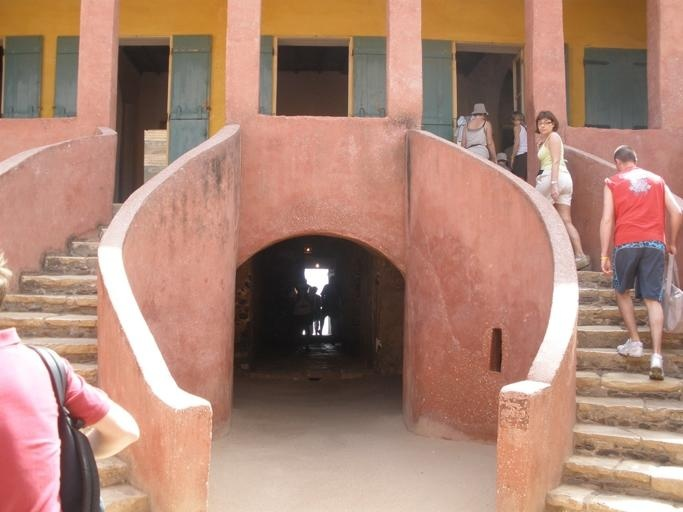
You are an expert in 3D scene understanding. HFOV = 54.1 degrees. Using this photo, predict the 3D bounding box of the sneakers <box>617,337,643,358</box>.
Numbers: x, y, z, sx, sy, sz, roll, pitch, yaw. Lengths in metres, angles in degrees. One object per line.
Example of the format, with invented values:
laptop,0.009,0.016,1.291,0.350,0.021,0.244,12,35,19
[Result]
sneakers,2.706,0.862,6.287,0.111,0.156,0.290,-1,3,3

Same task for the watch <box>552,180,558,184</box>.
watch,2.388,-0.829,7.507,0.035,0.042,0.012,9,0,3

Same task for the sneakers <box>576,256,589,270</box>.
sneakers,2.718,0.080,7.567,0.149,0.175,0.187,0,-10,5

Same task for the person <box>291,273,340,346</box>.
person,-0.577,1.224,15.652,1.038,1.651,1.946,0,3,-4

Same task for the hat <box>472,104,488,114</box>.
hat,1.926,-2.055,9.314,0.171,0.180,0.284,1,3,2

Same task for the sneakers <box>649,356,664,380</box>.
sneakers,2.848,1.003,6.042,0.116,0.239,0.154,1,3,20

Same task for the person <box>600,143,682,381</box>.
person,2.851,0.017,6.382,0.658,2.157,0.799,2,3,32

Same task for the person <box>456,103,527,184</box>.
person,2.091,-1.595,9.286,0.952,1.059,0.772,1,3,10

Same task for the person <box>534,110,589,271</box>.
person,2.588,-0.768,7.858,0.586,1.830,0.871,1,3,17
